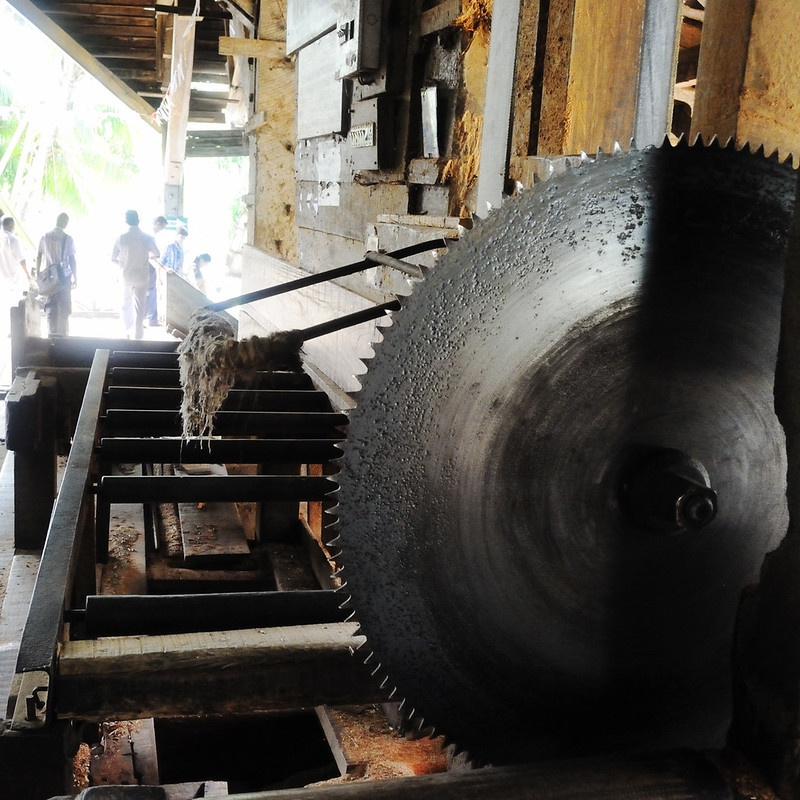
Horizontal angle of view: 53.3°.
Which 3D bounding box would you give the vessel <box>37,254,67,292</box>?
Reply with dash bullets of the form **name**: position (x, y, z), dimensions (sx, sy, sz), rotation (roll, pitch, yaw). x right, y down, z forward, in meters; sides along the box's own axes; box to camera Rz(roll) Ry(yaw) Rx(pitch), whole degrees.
- **vessel**: position (-4.318, -1.587, 9.984), dimensions (0.347, 0.341, 0.133), rotation (-18, -27, 10)
